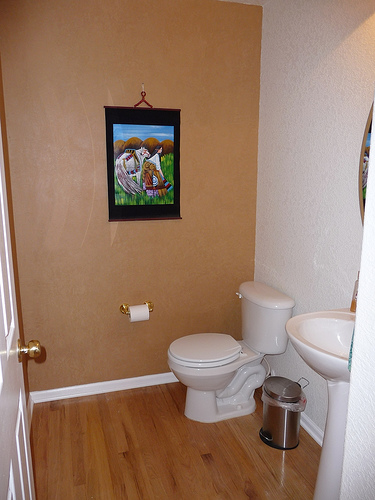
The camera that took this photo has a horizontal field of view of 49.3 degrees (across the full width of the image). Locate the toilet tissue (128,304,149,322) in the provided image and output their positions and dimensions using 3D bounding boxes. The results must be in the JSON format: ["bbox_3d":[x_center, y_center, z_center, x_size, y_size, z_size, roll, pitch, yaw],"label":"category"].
[{"bbox_3d":[-0.292,0.377,2.450,0.124,0.099,0.128,-2,9,-10],"label":"toilet tissue"}]

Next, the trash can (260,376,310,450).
[{"bbox_3d":[0.482,0.810,2.069,0.209,0.318,0.268,-1,16,-2],"label":"trash can"}]

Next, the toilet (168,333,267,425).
[{"bbox_3d":[0.180,0.731,2.350,0.523,0.468,0.360,-5,20,-17],"label":"toilet"}]

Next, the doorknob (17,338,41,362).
[{"bbox_3d":[-0.418,0.271,1.094,0.055,0.078,0.051,0,7,-12],"label":"doorknob"}]

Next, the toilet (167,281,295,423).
[{"bbox_3d":[0.237,0.532,2.566,0.719,0.913,0.539,-2,11,-16],"label":"toilet"}]
